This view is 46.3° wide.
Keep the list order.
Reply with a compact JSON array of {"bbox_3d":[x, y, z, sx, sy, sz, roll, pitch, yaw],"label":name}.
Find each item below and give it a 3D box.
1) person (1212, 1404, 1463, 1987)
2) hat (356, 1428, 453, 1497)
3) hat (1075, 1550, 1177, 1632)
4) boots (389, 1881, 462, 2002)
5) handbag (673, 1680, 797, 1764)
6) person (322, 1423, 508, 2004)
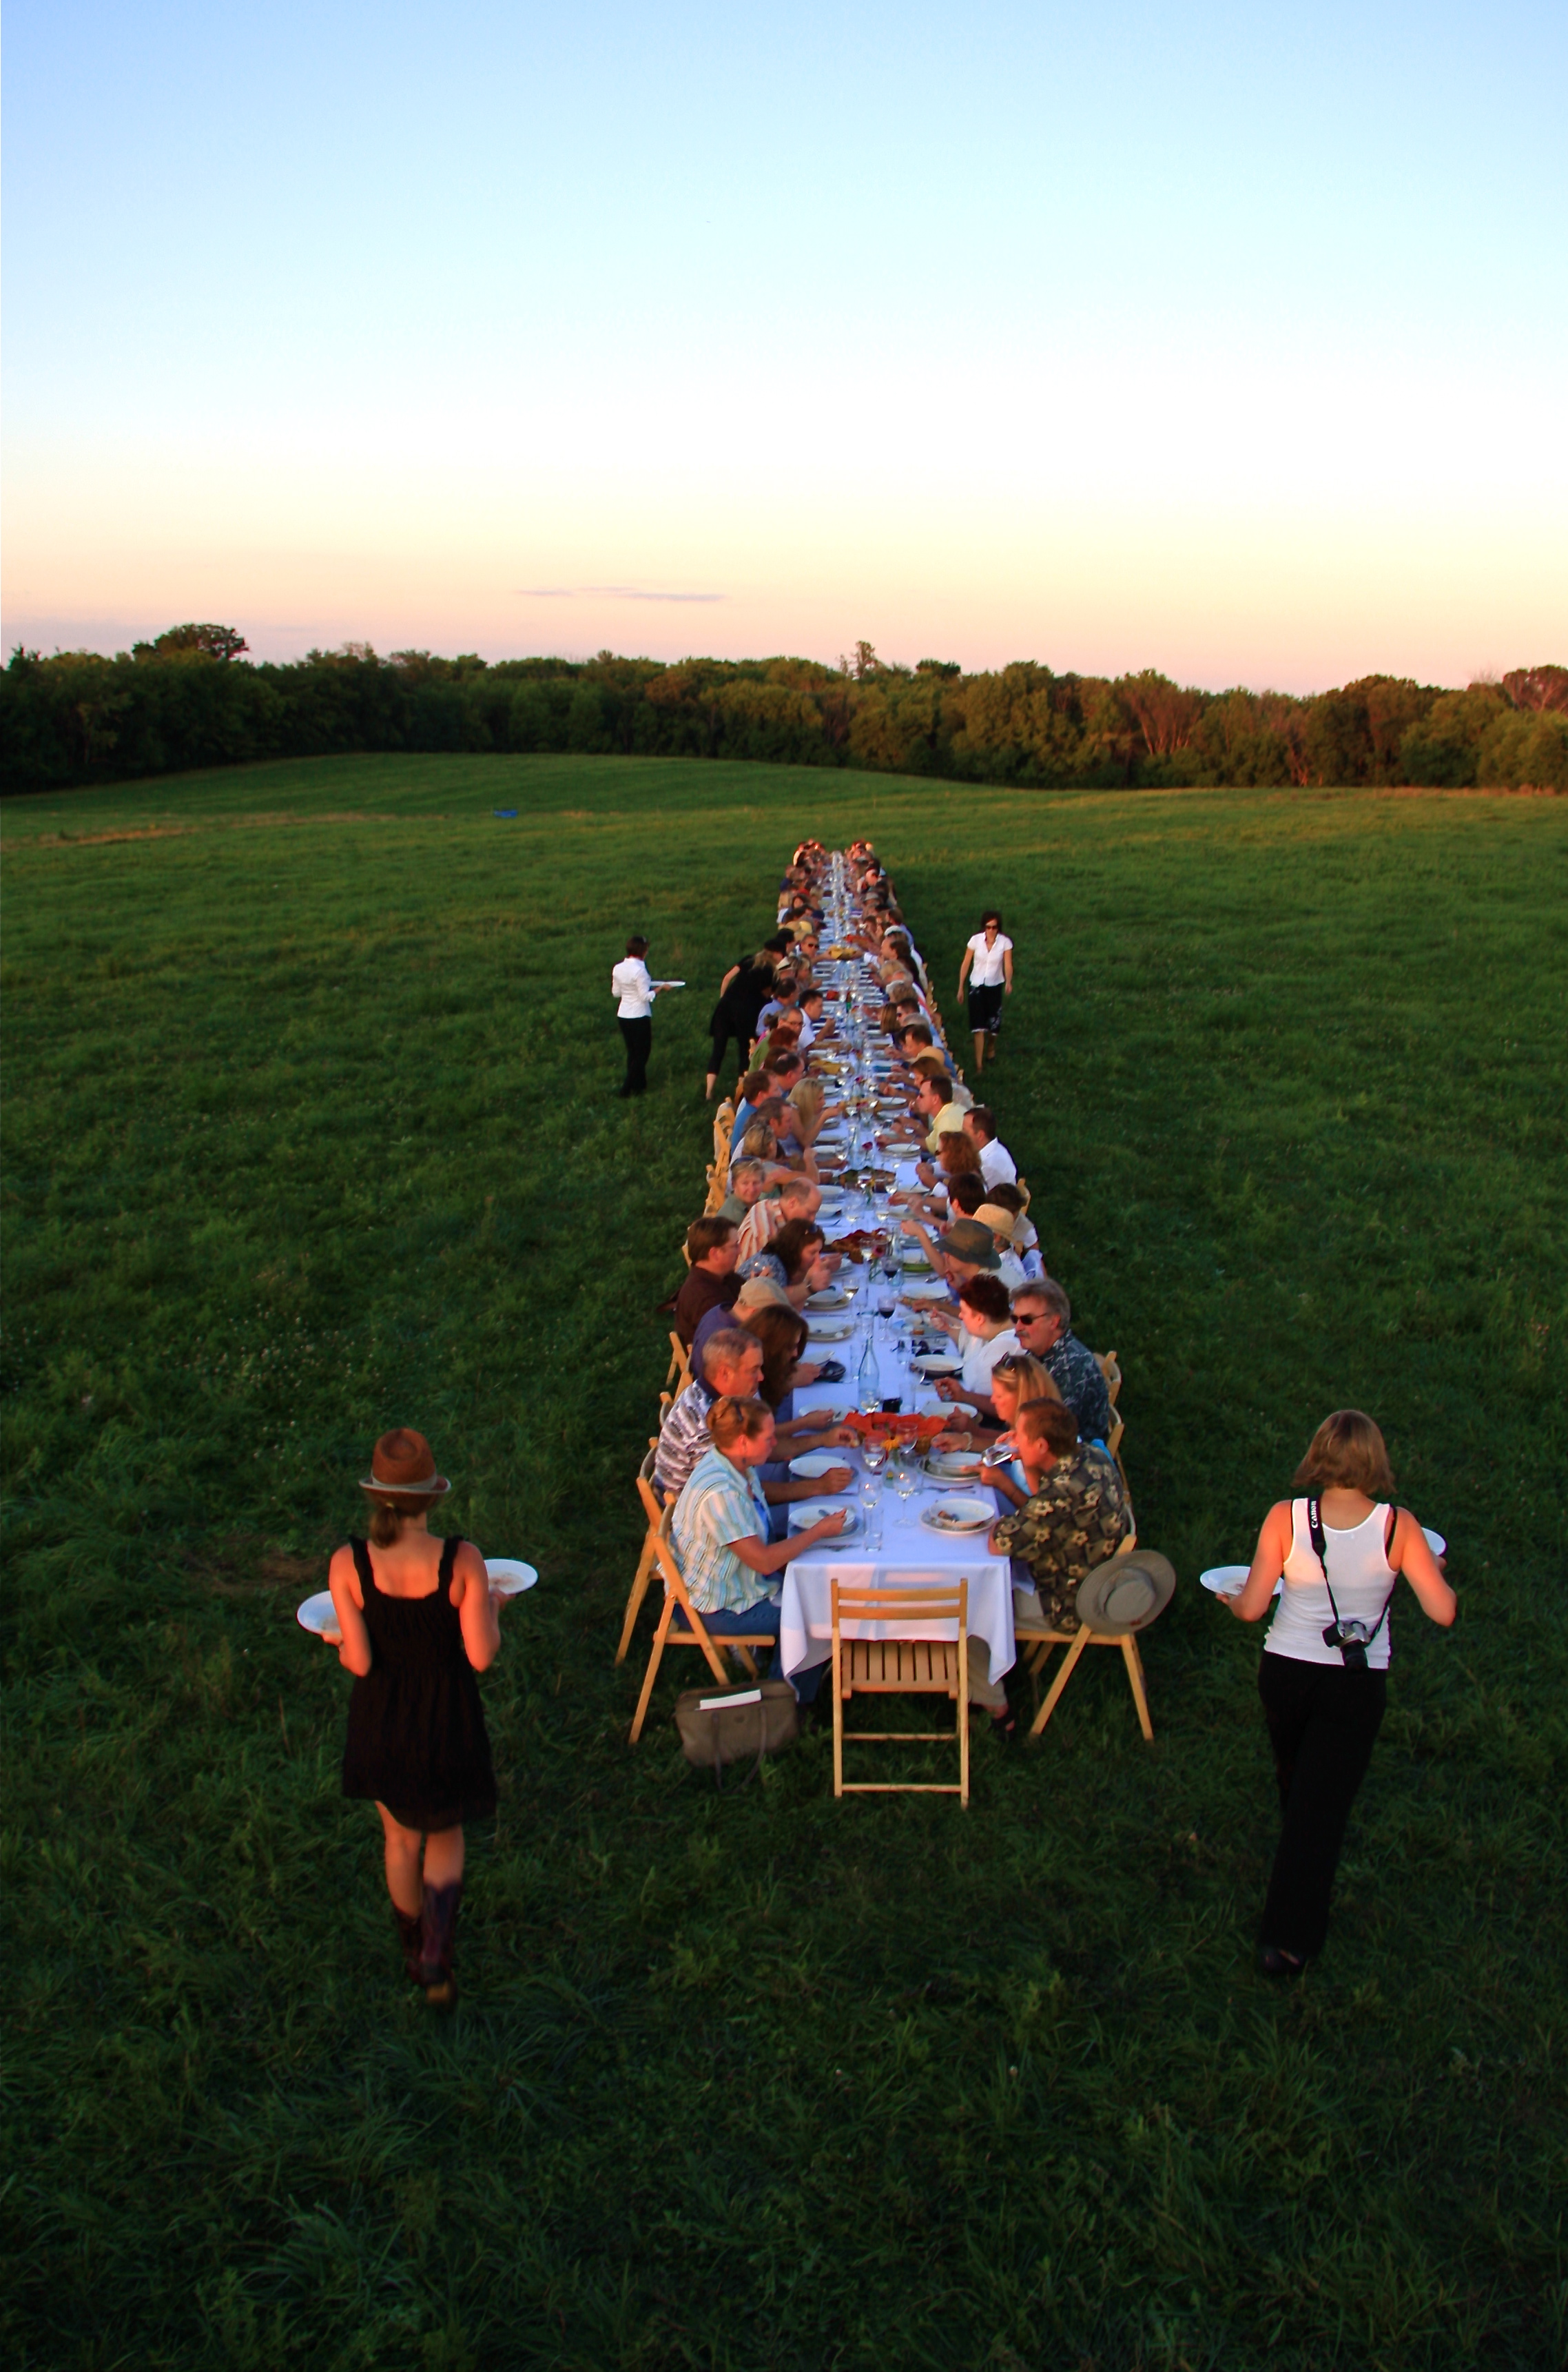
[{"bbox_3d":[1.515,1.452,5.127,0.546,1.782,0.378,1,14,13],"label":"person"},{"bbox_3d":[-1.000,0.708,4.749,0.184,0.192,0.289,-5,14,-13],"label":"hat"},{"bbox_3d":[1.164,1.423,6.364,0.312,0.408,0.228,-2,13,0],"label":"hat"},{"bbox_3d":[-1.039,2.211,5.336,0.162,0.390,0.372,3,-27,-6],"label":"boots"},{"bbox_3d":[-0.167,1.912,6.521,0.342,0.269,0.116,-5,29,-9],"label":"handbag"},{"bbox_3d":[-1.002,1.495,5.046,0.388,1.862,0.531,-13,17,-39],"label":"person"}]
